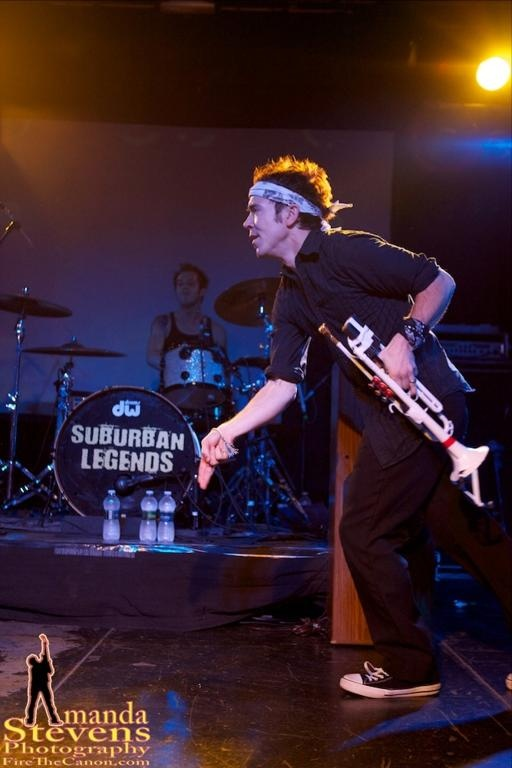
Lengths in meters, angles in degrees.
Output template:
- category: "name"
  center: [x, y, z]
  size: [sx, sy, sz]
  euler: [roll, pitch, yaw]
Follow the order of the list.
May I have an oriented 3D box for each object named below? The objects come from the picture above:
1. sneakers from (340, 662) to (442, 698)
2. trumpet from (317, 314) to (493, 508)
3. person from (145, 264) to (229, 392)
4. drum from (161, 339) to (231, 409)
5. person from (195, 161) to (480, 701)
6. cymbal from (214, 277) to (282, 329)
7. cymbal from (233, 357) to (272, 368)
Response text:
- category: "sneakers"
  center: [0.372, 0.828, 2.019]
  size: [0.276, 0.094, 0.093]
  euler: [5, -23, 5]
- category: "trumpet"
  center: [0.415, 0.055, 1.979]
  size: [0.251, 0.710, 0.242]
  euler: [-48, -3, 33]
- category: "person"
  center: [-0.536, -0.435, 5.342]
  size: [0.451, 0.993, 0.443]
  euler: [-3, 13, -42]
- category: "drum"
  center: [-0.400, -0.093, 4.788]
  size: [0.381, 0.478, 0.359]
  euler: [3, 5, 0]
- category: "person"
  center: [0.334, 0.039, 2.281]
  size: [0.773, 1.694, 0.673]
  euler: [3, -3, -40]
- category: "cymbal"
  center: [-0.068, -0.579, 5.092]
  size: [0.578, 0.123, 0.522]
  euler: [-3, -43, 3]
- category: "cymbal"
  center: [-0.045, -0.154, 5.219]
  size: [0.207, 0.043, 0.197]
  euler: [1, -2, -32]
